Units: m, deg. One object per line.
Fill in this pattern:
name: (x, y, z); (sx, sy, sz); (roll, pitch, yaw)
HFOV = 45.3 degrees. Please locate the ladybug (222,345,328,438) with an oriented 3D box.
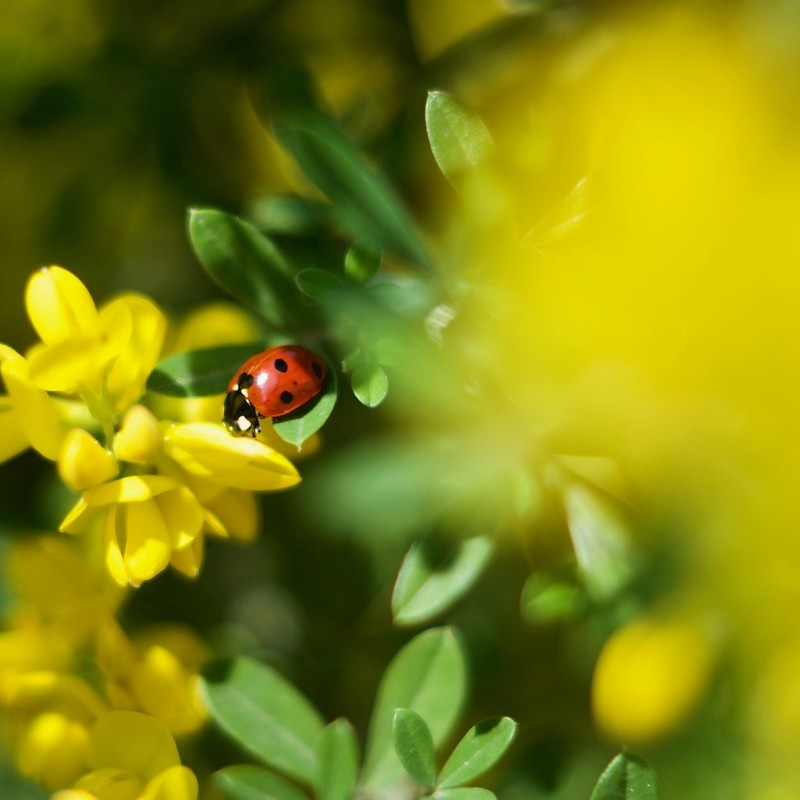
ladybug: (-0.092, -0.002, 0.670); (0.073, 0.040, 0.053); (-40, 61, 10)
